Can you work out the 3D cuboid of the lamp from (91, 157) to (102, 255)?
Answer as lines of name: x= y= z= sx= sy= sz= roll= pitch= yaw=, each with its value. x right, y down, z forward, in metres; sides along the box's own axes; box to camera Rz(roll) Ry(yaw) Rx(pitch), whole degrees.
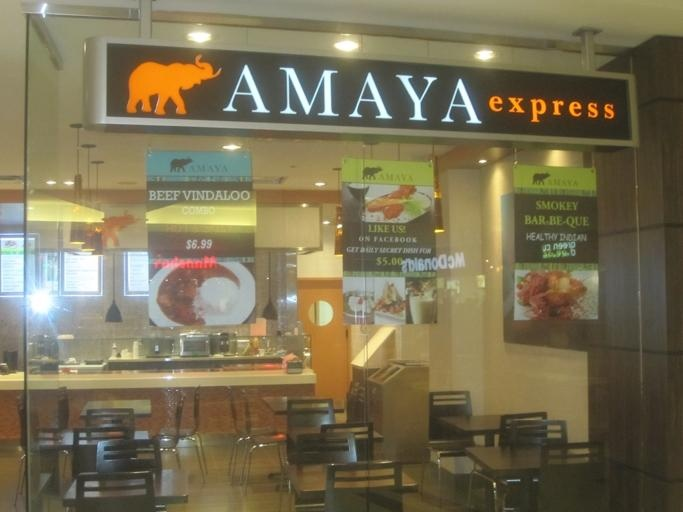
lamp: x=-1.309 y=-0.268 z=4.130 sx=0.058 sy=0.507 sz=0.036 roll=-2 pitch=-5 yaw=-7

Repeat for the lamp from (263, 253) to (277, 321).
lamp: x=-0.396 y=0.168 z=4.210 sx=0.073 sy=0.366 sz=0.036 roll=-2 pitch=-5 yaw=-5

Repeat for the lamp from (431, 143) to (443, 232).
lamp: x=0.545 y=-0.375 z=4.393 sx=0.050 sy=0.479 sz=0.113 roll=-3 pitch=-5 yaw=7

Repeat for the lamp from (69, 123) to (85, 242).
lamp: x=-1.421 y=-0.396 z=4.135 sx=0.079 sy=0.651 sz=0.078 roll=-1 pitch=-6 yaw=-17

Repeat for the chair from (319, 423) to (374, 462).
chair: x=0.029 y=1.018 z=4.336 sx=0.308 sy=0.269 sz=0.211 roll=0 pitch=3 yaw=-2

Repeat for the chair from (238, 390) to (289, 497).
chair: x=-0.417 y=1.030 z=4.308 sx=0.322 sy=0.457 sz=0.312 roll=4 pitch=1 yaw=-25

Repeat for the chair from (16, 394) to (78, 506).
chair: x=-1.539 y=1.023 z=4.064 sx=0.405 sy=0.601 sz=0.616 roll=0 pitch=2 yaw=-24

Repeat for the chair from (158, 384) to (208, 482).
chair: x=-0.906 y=0.957 z=4.077 sx=0.284 sy=0.459 sz=0.262 roll=5 pitch=-10 yaw=-33
